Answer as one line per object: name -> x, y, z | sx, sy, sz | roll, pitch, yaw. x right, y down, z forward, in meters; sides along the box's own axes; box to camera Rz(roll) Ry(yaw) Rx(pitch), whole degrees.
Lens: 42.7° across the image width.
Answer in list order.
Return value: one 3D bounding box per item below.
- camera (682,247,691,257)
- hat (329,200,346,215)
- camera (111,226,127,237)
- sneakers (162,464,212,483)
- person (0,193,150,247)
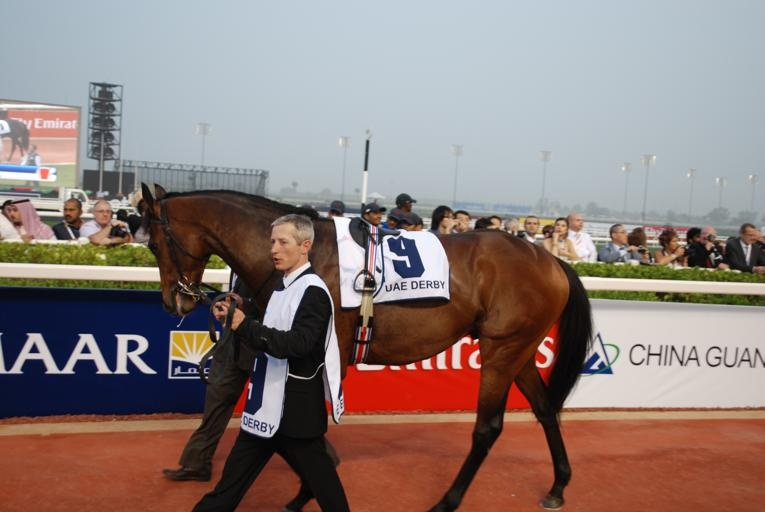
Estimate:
camera -> 4.066, -0.062, 13.060 | 0.122, 0.135, 0.129 | 2, 6, 9
hat -> -0.631, -0.665, 13.544 | 0.160, 0.143, 0.262 | 4, -4, -1
camera -> -2.939, -0.263, 10.897 | 0.171, 0.100, 0.147 | 11, -8, -18
sneakers -> -1.796, 2.017, 9.128 | 0.448, 0.209, 0.162 | 6, -1, 1
person -> -3.623, -0.411, 11.333 | 1.762, 0.468, 1.273 | 5, 7, 22
